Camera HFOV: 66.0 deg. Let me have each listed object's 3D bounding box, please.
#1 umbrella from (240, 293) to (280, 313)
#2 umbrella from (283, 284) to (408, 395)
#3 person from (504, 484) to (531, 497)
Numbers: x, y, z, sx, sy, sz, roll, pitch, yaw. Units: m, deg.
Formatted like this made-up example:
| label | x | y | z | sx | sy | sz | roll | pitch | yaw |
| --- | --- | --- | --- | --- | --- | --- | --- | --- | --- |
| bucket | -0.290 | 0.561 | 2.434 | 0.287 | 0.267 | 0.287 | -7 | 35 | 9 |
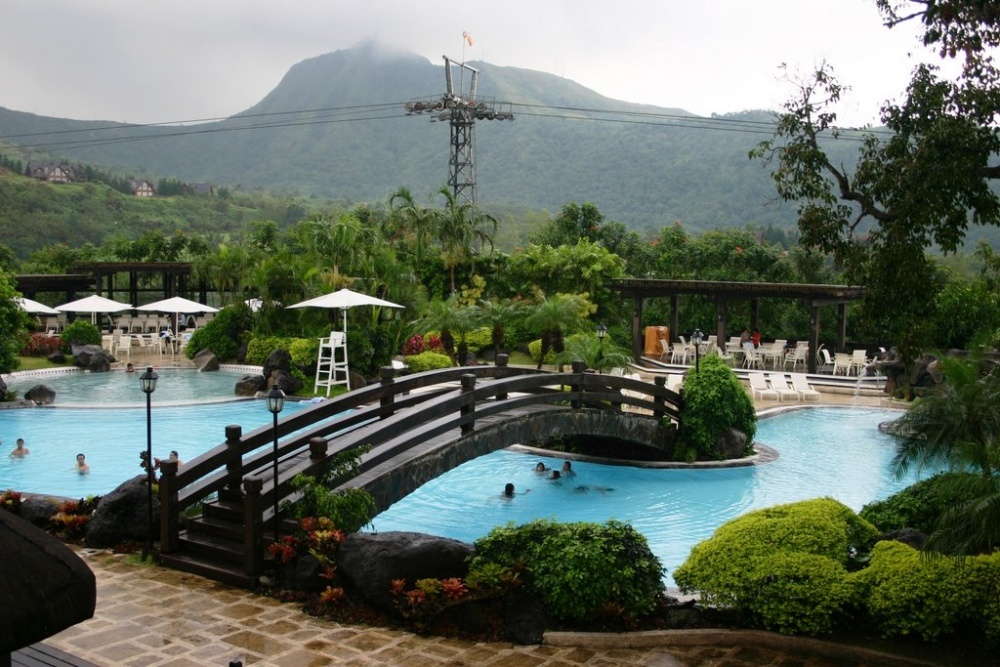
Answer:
| label | x | y | z | sx | sy | sz | roll | pitch | yaw |
| --- | --- | --- | --- | --- | --- | --- | --- | --- | --- |
| umbrella | -9.903 | -1.230 | 32.093 | 0.642 | 0.673 | 3.338 | -2 | 6 | -33 |
| umbrella | -4.988 | 0.397 | 26.539 | 3.710 | 3.175 | 3.655 | 5 | -5 | -42 |
| person | 0.341 | 3.518 | 17.262 | 0.595 | 0.287 | 0.888 | 5 | -12 | 11 |
